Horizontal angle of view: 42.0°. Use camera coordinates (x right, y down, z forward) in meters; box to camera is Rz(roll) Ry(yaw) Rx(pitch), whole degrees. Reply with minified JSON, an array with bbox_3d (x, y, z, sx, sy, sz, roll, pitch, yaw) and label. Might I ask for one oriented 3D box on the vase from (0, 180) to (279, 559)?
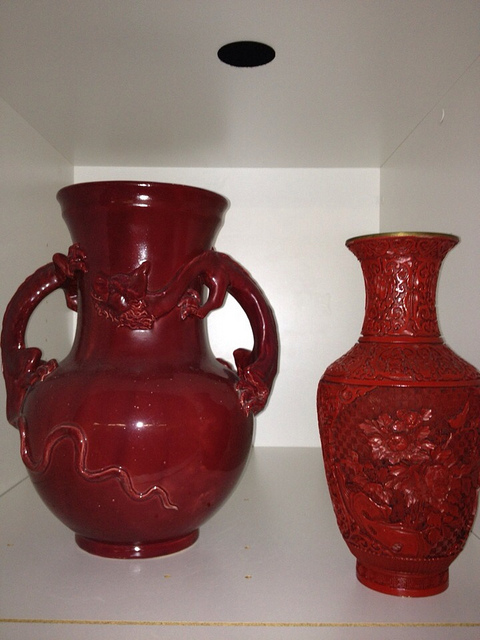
[{"bbox_3d":[-0.119,0.054,0.700,0.251,0.396,0.247,-1,2,-42],"label":"vase"}]
